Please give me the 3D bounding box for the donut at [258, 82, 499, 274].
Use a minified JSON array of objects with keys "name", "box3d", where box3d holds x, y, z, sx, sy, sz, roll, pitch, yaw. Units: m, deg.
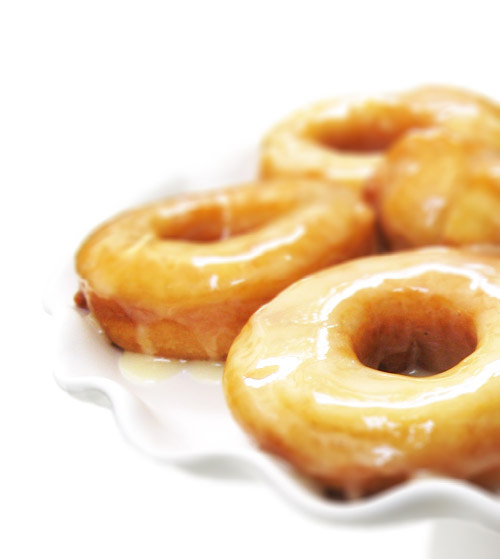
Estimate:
[{"name":"donut","box3d":[0.293,-0.223,1.369,0.617,0.145,0.420,-1,39,5]}]
